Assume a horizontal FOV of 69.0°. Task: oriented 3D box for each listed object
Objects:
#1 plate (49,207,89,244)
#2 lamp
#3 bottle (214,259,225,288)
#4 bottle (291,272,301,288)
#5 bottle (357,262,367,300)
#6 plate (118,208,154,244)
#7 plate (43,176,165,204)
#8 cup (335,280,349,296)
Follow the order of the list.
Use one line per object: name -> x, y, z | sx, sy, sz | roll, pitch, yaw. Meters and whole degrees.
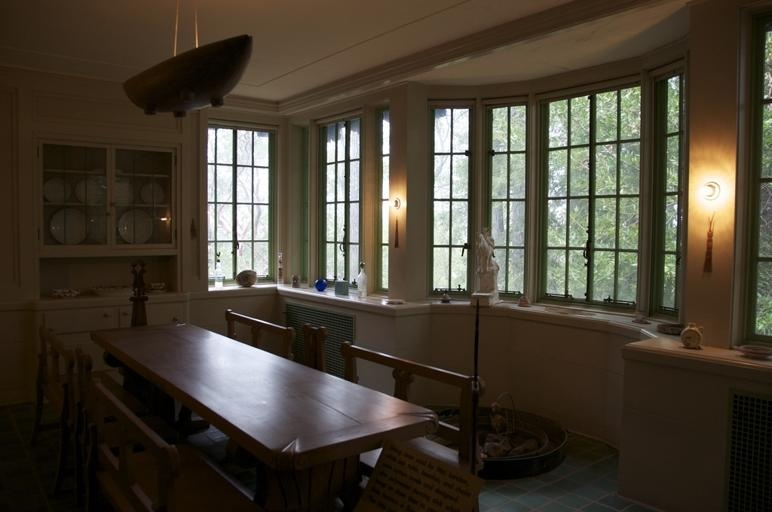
plate -> -3.661, -0.359, 6.418 | 0.426, 0.425, 0.097 | -2, 1, -39
lamp -> -1.250, -1.144, 3.618 | 0.970, 0.385, 0.325 | 1, 4, 31
bottle -> -2.284, 0.198, 7.611 | 0.118, 0.418, 0.173 | -3, 4, -19
bottle -> -1.240, 0.322, 7.685 | 0.144, 0.225, 0.148 | 0, -4, 0
bottle -> -0.285, 0.279, 6.829 | 0.127, 0.404, 0.321 | -2, 4, -3
plate -> -3.044, -0.364, 6.803 | 0.371, 0.373, 0.050 | 1, 4, -44
plate -> -3.305, -0.772, 6.630 | 1.285, 0.294, 0.098 | -5, 5, -36
cup -> -0.550, 0.388, 6.958 | 0.165, 0.160, 0.165 | 1, 5, 0
